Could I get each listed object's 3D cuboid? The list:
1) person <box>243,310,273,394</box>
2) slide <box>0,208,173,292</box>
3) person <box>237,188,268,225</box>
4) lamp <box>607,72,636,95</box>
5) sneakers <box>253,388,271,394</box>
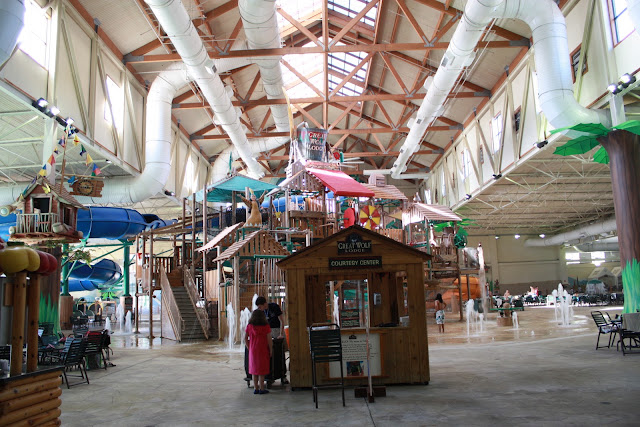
[{"bbox_3d":[-1.277,2.855,9.718,0.537,1.697,0.480,-1,-13,-9],"label":"person"},{"bbox_3d":[-11.664,0.595,24.994,7.765,5.351,1.602,2,13,-30],"label":"slide"},{"bbox_3d":[-3.104,-0.362,21.735,1.440,1.699,0.895,4,-17,-27],"label":"person"},{"bbox_3d":[9.544,-4.111,14.779,0.574,0.291,0.805,13,-37,-18],"label":"lamp"},{"bbox_3d":[-1.185,3.648,9.576,0.138,0.065,0.188,-1,-7,17],"label":"sneakers"}]
